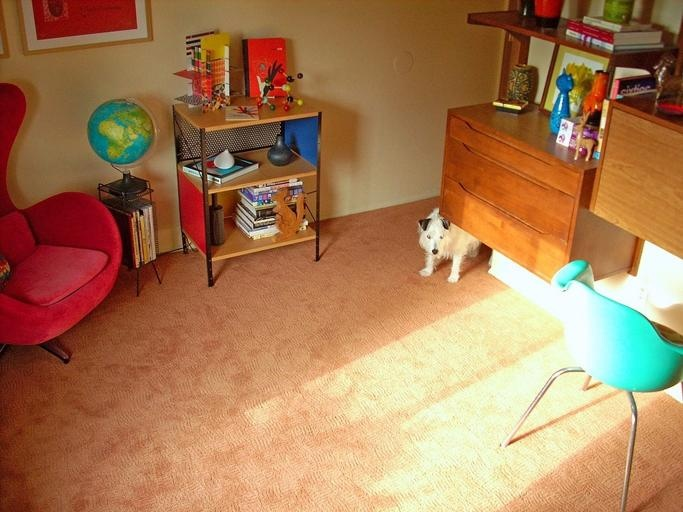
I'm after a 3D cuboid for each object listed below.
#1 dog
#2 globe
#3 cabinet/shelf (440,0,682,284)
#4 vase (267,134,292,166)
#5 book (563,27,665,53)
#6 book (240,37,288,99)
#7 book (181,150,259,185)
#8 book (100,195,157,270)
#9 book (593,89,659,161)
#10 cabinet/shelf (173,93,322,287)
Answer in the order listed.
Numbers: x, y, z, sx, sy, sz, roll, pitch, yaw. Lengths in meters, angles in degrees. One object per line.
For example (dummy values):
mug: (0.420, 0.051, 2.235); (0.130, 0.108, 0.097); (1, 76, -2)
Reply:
dog: (0.731, -0.118, 3.641); (0.321, 0.469, 0.564); (4, 22, 26)
globe: (-1.362, -0.698, 3.244); (0.397, 0.586, 0.374); (-4, 34, -16)
cabinet/shelf: (1.173, -0.554, 2.718); (0.539, 1.548, 1.292); (-8, 33, -19)
vase: (-0.402, -0.718, 3.508); (0.178, 0.200, 0.183); (0, 22, -3)
book: (1.302, -1.049, 2.454); (0.437, 0.084, 0.251); (14, 35, 20)
book: (-0.518, -1.261, 3.425); (0.344, 0.497, 0.068); (-8, 18, -25)
book: (-0.792, -0.614, 3.392); (0.497, 0.121, 0.360); (-8, 34, -11)
book: (-1.329, -0.158, 3.201); (0.201, 0.384, 0.276); (-19, 40, -33)
book: (1.284, -0.581, 2.305); (0.052, 0.337, 0.365); (25, 24, 31)
cabinet/shelf: (-0.637, -0.491, 3.546); (0.818, 1.108, 0.596); (-19, 37, -34)
